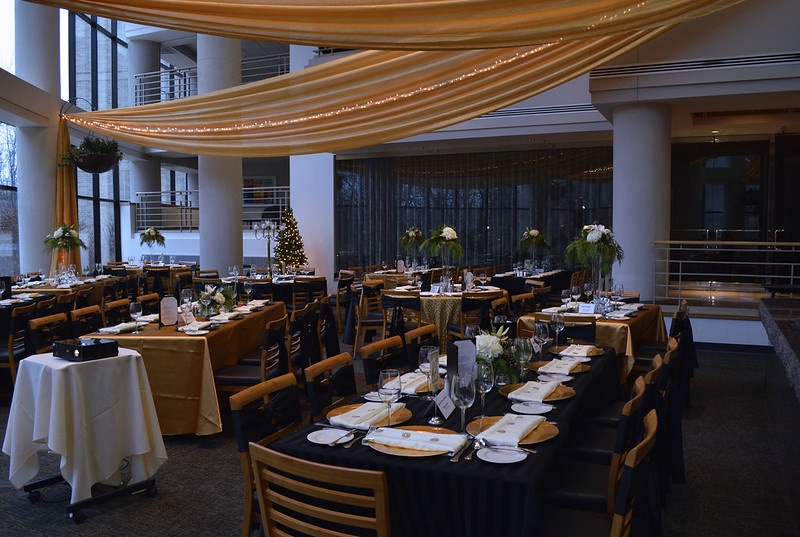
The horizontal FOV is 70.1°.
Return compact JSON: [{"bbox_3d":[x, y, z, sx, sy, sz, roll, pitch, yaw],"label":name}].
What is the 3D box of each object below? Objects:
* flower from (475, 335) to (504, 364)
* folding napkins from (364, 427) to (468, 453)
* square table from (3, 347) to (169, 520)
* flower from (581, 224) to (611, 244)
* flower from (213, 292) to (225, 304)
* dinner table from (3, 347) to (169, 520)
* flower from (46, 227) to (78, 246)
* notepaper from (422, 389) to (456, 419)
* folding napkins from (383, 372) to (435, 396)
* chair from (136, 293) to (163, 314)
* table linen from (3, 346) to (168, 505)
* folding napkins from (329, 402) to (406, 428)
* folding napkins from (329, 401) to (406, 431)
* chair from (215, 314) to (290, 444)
[{"bbox_3d":[0.597,0.540,3.838,0.167,0.183,0.175,-2,9,2],"label":"flower"},{"bbox_3d":[0.102,0.993,3.286,0.340,0.052,0.217,0,3,23],"label":"folding napkins"},{"bbox_3d":[-2.497,1.257,4.738,1.080,1.316,1.119,-1,-5,14],"label":"square table"},{"bbox_3d":[2.311,-0.419,6.818,0.236,0.162,0.292,4,11,42],"label":"flower"},{"bbox_3d":[-1.819,0.324,5.907,0.112,0.075,0.089,27,-1,33],"label":"flower"},{"bbox_3d":[-2.318,1.271,4.693,1.080,1.316,1.119,-1,-5,14],"label":"dinner table"},{"bbox_3d":[-5.712,-0.534,9.810,0.417,0.208,0.426,0,-2,-20],"label":"flower"},{"bbox_3d":[0.252,0.858,3.568,0.019,0.170,0.166,-11,30,42],"label":"notepaper"},{"bbox_3d":[0.067,0.760,3.702,0.199,0.039,0.291,1,2,22],"label":"folding napkins"},{"bbox_3d":[-2.817,0.415,6.538,0.217,0.302,0.219,8,10,41],"label":"chair"},{"bbox_3d":[-2.388,1.168,4.733,1.049,1.273,1.172,-1,-1,30],"label":"table linen"},{"bbox_3d":[-0.174,0.922,3.554,0.224,0.060,0.283,-1,3,25],"label":"folding napkins"},{"bbox_3d":[-0.175,0.923,3.547,0.239,0.055,0.257,-2,3,30],"label":"folding napkins"},{"bbox_3d":[-1.317,0.890,5.431,0.737,1.312,0.728,2,6,4],"label":"chair"}]
